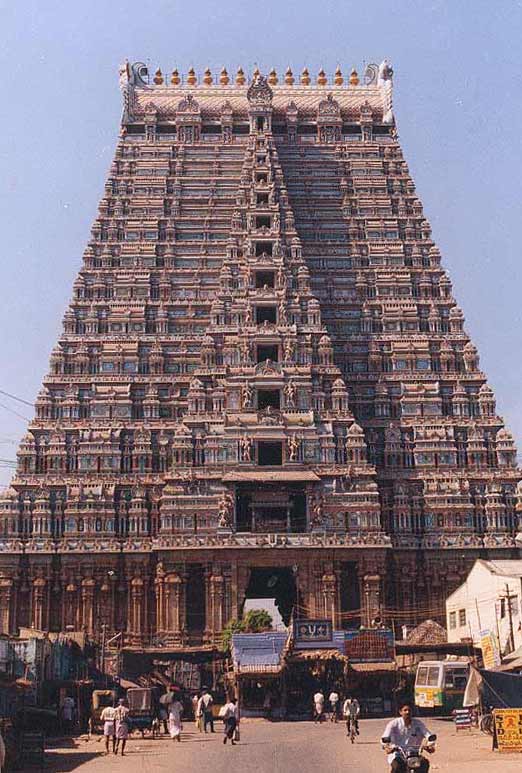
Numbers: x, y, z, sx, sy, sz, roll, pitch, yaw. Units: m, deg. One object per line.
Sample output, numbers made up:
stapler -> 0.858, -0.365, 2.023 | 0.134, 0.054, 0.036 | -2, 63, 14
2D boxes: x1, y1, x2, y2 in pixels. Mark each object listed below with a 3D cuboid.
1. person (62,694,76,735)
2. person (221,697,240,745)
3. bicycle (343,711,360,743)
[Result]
person -> -6.091, 10.382, 37.798 | 0.395, 1.189, 1.381 | 2, -20, -9
person -> -0.788, 8.636, 30.674 | 0.413, 1.096, 1.122 | 0, -20, -3
bicycle -> 2.346, 8.822, 30.682 | 0.429, 0.510, 0.866 | -2, -44, -1
